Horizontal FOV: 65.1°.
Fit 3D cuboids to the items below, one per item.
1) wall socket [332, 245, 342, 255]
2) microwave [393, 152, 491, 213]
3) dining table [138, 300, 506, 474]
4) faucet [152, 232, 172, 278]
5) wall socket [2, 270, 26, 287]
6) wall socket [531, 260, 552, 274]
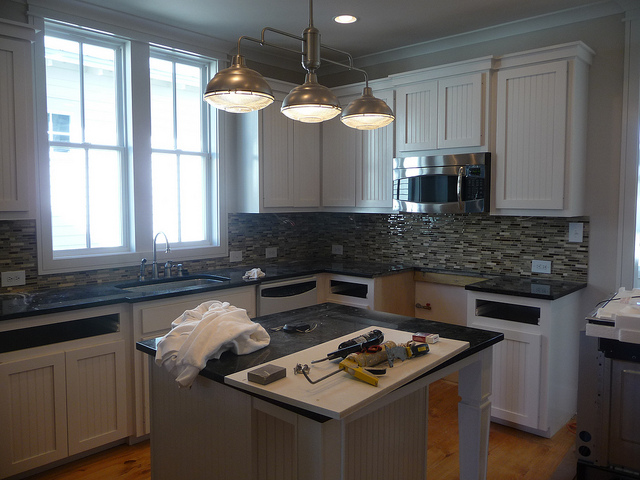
[{"bbox_3d":[0.201,0.101,5.672,0.145,0.099,0.078,1,1,36],"label":"wall socket"},{"bbox_3d":[1.145,-0.507,4.604,0.463,0.512,0.914,-7,9,-44],"label":"microwave"},{"bbox_3d":[-0.102,0.749,2.704,1.351,0.801,1.361,3,5,37],"label":"dining table"},{"bbox_3d":[-1.382,0.122,4.378,0.138,0.403,0.313,0,9,-3],"label":"faucet"},{"bbox_3d":[-2.269,0.287,3.709,0.130,0.092,0.018,-2,0,-44],"label":"wall socket"},{"bbox_3d":[1.924,0.232,4.341,0.176,0.124,0.098,6,10,42],"label":"wall socket"}]
